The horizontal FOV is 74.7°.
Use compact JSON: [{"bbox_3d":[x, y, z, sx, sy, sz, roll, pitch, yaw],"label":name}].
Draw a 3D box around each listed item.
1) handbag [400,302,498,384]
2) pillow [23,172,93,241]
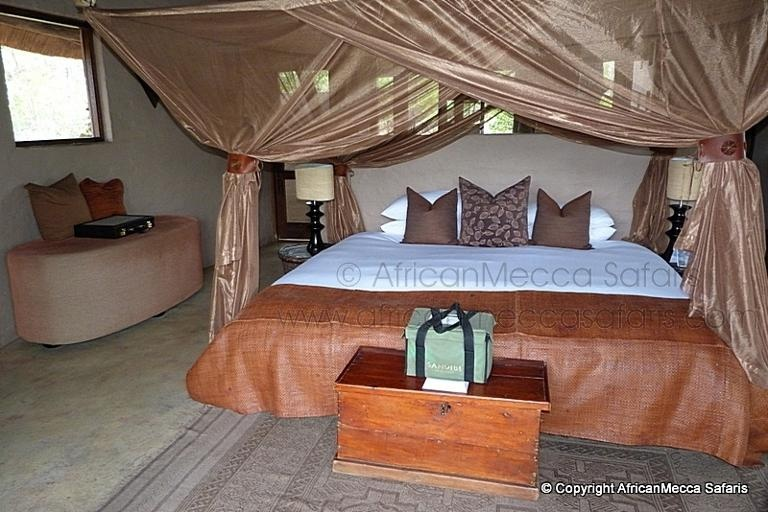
[{"bbox_3d":[0.374,0.475,2.846,0.497,0.340,0.388,4,13,18],"label":"handbag"},{"bbox_3d":[-2.744,-0.403,4.246,0.149,0.482,0.495,-13,9,37],"label":"pillow"}]
